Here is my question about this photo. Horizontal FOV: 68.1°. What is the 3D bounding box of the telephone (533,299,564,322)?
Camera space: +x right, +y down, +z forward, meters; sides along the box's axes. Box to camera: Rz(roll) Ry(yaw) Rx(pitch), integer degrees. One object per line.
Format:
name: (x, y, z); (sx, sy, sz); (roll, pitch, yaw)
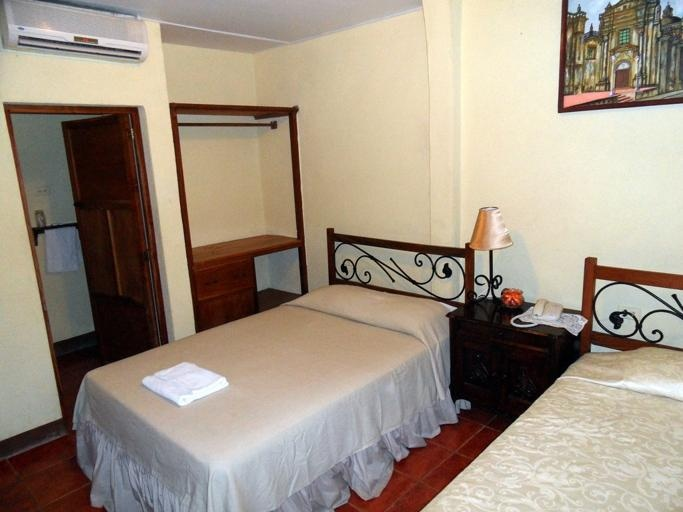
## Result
telephone: (1.430, 0.359, 3.473); (0.140, 0.061, 0.144); (10, 33, 37)

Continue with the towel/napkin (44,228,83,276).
towel/napkin: (-2.687, -0.049, 4.837); (0.397, 0.590, 0.055); (-4, 6, -44)

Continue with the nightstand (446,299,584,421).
nightstand: (1.242, 0.726, 3.752); (0.755, 0.814, 0.533); (9, 28, 33)

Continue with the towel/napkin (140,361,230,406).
towel/napkin: (-0.985, 0.795, 3.186); (0.496, 0.099, 0.327); (6, 17, 35)
